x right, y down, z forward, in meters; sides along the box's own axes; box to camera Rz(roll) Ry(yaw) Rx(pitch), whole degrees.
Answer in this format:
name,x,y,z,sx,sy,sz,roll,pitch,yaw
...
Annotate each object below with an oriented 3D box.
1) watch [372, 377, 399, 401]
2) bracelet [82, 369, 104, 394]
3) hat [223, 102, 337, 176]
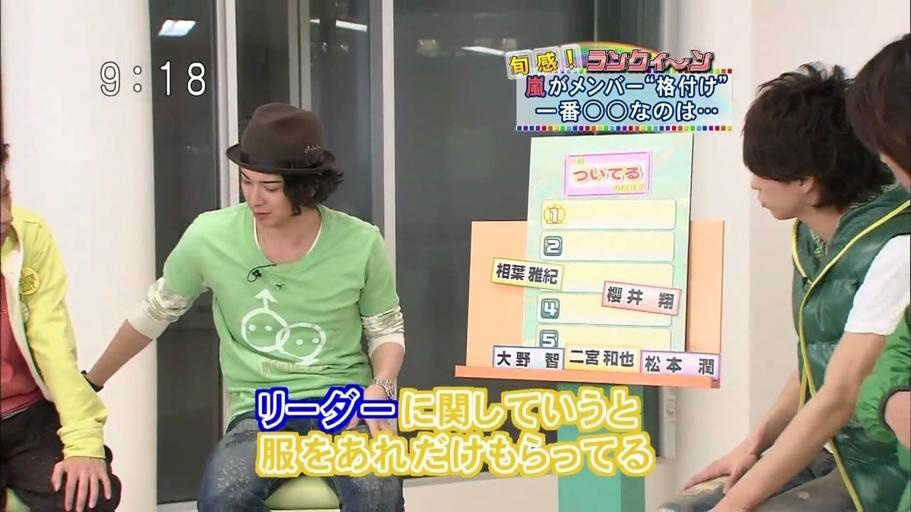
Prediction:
name,x,y,z,sx,sy,sz,roll,pitch,yaw
watch,-0.283,0.545,4.084,0.037,0.094,0.094,-2,46,52
bracelet,-1.497,0.522,4.061,0.098,0.069,0.097,27,9,-33
hat,-0.734,-0.505,4.162,0.481,0.235,0.448,10,21,11
